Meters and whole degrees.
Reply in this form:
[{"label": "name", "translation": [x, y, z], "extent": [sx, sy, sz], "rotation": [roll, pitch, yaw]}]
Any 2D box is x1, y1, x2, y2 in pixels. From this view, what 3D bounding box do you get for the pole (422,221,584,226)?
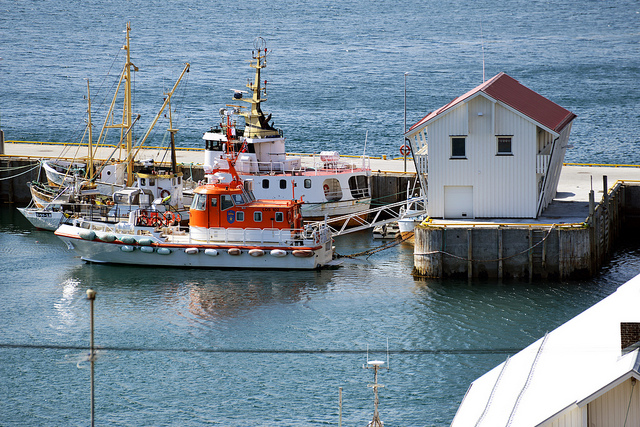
[{"label": "pole", "translation": [12.163, 0.655, 88.962], "extent": [9.687, 0.122, 0.757], "rotation": [1, 8, 4]}]
